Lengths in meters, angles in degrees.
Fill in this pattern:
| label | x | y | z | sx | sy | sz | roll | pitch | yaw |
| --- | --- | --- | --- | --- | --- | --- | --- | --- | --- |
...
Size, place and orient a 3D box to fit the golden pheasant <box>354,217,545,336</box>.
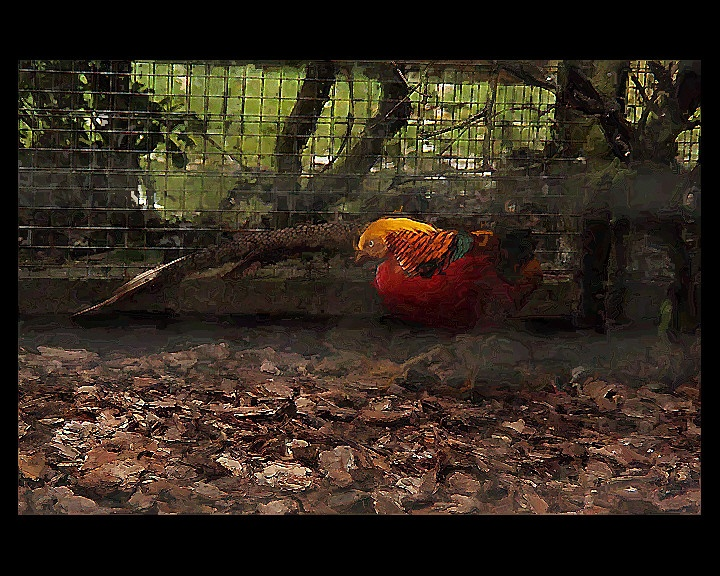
| label | x | y | z | sx | sy | sz | roll | pitch | yaw |
| --- | --- | --- | --- | --- | --- | --- | --- | --- | --- |
| golden pheasant | 0.330 | -0.135 | 3.019 | 0.909 | 0.446 | 0.535 | 5 | 44 | -11 |
